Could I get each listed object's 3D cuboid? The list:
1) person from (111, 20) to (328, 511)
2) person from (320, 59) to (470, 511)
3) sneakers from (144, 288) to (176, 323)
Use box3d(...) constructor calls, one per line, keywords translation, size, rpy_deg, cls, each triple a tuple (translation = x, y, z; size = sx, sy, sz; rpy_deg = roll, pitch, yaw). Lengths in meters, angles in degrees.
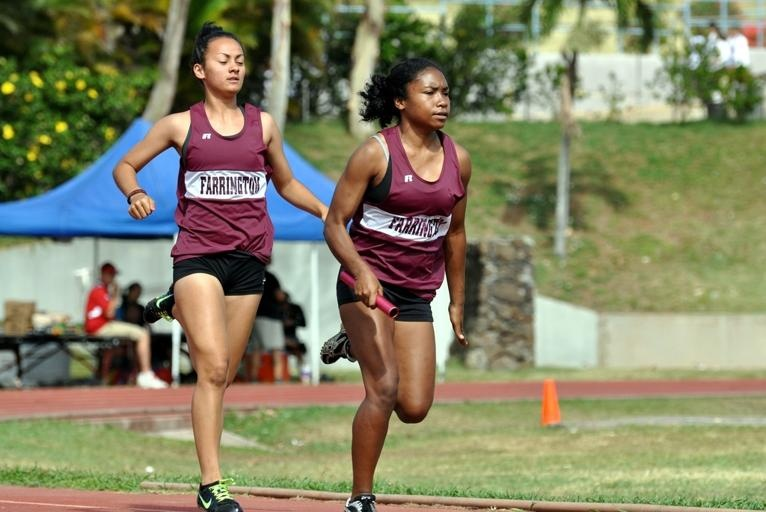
box3d(translation=(-1.392, 0.090, 11.319), size=(1.473, 4.073, 0.833), rpy_deg=(-1, 3, -9), cls="person")
box3d(translation=(0.117, 0.207, 11.190), size=(1.163, 3.641, 0.592), rpy_deg=(-2, 4, -24), cls="person")
box3d(translation=(-1.863, 0.424, 11.594), size=(0.215, 0.153, 0.470), rpy_deg=(-4, -17, -44), cls="sneakers")
